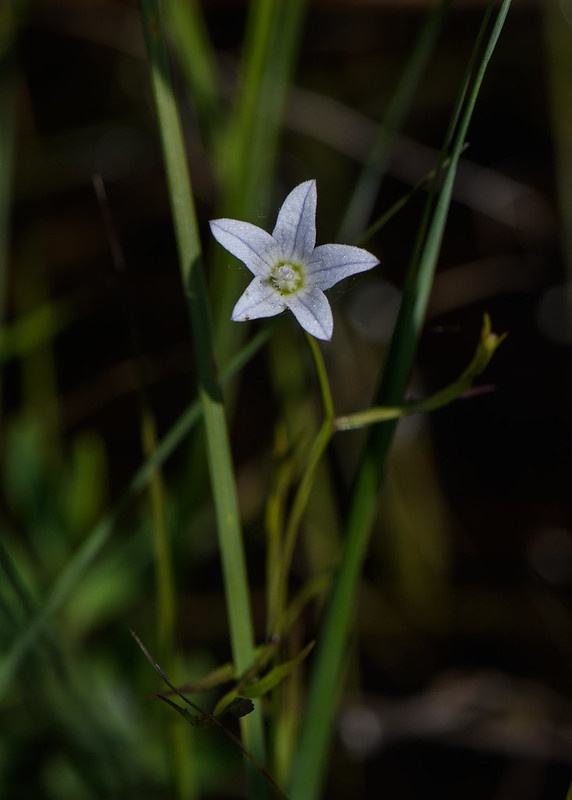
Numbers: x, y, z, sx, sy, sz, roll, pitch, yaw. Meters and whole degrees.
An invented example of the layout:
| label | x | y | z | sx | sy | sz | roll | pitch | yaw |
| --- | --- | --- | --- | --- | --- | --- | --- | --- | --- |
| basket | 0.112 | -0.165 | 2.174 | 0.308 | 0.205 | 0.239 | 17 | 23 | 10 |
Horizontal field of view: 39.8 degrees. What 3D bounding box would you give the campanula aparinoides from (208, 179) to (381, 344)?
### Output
| label | x | y | z | sx | sy | sz | roll | pitch | yaw |
| --- | --- | --- | --- | --- | --- | --- | --- | --- | --- |
| campanula aparinoides | 0.020 | -0.221 | 1.291 | 0.251 | 0.184 | 0.188 | -16 | -57 | 3 |
